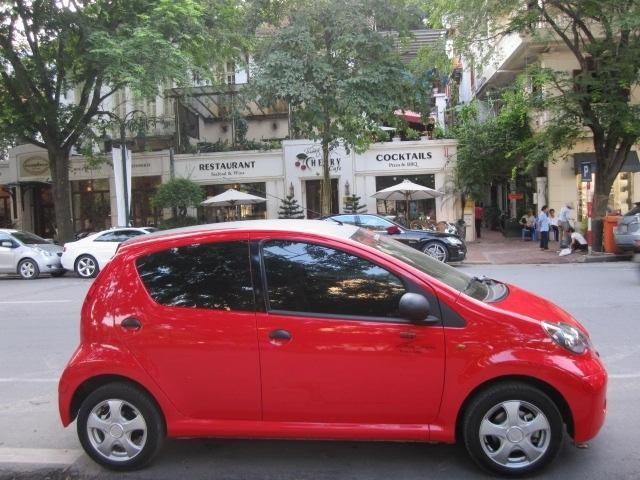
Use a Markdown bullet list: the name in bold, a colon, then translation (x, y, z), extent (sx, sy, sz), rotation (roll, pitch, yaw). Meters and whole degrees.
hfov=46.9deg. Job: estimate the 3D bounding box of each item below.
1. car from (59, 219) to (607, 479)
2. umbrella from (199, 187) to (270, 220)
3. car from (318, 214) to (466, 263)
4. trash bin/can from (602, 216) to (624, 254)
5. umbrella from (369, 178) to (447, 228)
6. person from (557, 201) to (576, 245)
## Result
- **car**: translation (0.213, 1.201, 9.209), extent (5.236, 2.244, 2.909), rotation (-1, 0, 4)
- **umbrella**: translation (-3.563, -1.553, 30.974), extent (2.481, 1.179, 2.608), rotation (-4, -2, 13)
- **car**: translation (2.345, -0.144, 21.169), extent (3.523, 1.104, 1.599), rotation (1, 4, 2)
- **trash bin/can**: translation (8.711, -0.230, 22.532), extent (0.804, 1.149, 0.678), rotation (-11, 7, -44)
- **umbrella**: translation (3.275, -1.491, 28.316), extent (2.387, 1.764, 2.290), rotation (-4, 7, -20)
- **person**: translation (8.558, -0.557, 25.862), extent (0.508, 1.428, 0.497), rotation (-3, 7, -10)
